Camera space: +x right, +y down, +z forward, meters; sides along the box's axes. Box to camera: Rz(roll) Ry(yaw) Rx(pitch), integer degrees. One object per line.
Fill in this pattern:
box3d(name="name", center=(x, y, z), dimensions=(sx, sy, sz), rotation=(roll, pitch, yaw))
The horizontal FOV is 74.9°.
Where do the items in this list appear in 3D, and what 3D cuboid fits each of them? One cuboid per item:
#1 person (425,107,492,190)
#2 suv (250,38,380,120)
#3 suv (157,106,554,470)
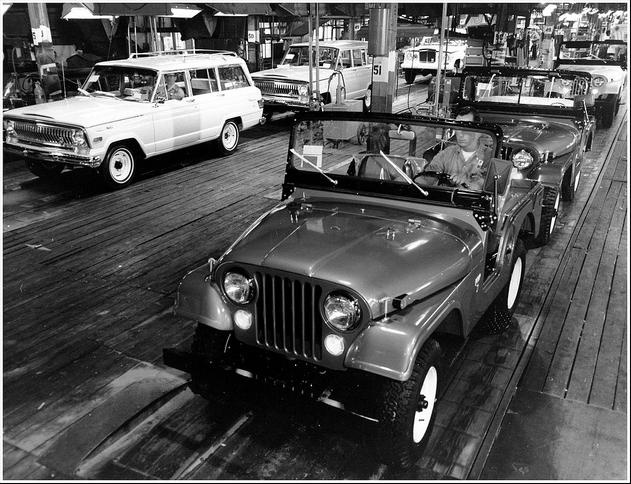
box3d(name="person", center=(1.447, -0.829, 4.070), dimensions=(0.564, 0.565, 1.013), rotation=(13, 42, 27))
box3d(name="suv", center=(0.368, -5.580, 14.544), dimensions=(2.588, 2.325, 4.780), rotation=(13, 23, 34))
box3d(name="suv", center=(0.873, -0.097, 4.552), dimensions=(2.221, 2.317, 4.372), rotation=(10, 25, 32))
